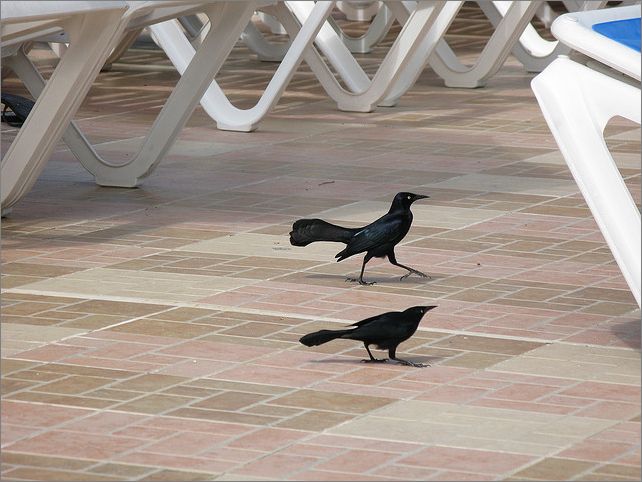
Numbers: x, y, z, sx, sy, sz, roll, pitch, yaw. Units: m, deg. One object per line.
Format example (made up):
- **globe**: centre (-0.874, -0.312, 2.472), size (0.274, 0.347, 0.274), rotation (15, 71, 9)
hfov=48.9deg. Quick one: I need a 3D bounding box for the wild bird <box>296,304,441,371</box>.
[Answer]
- **wild bird**: centre (0.223, 0.539, 3.786), size (0.752, 0.591, 0.292), rotation (9, 56, -6)
